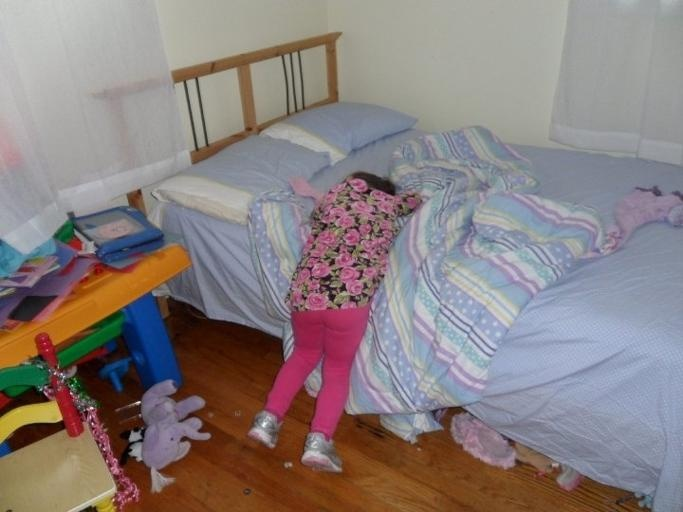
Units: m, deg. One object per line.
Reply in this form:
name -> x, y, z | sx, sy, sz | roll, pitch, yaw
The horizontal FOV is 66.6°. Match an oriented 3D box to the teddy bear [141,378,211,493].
teddy bear -> -0.679, 0.712, 2.074 | 0.263, 0.181, 0.362 | 16, 56, 0

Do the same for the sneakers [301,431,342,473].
sneakers -> -0.067, 0.701, 1.899 | 0.138, 0.208, 0.168 | 0, 32, -1

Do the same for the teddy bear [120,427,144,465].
teddy bear -> -0.820, 0.741, 2.044 | 0.099, 0.045, 0.109 | -5, 55, 15

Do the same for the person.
person -> -0.010, 0.196, 2.065 | 0.454, 0.350, 1.149 | 16, 85, 16

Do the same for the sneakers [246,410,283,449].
sneakers -> -0.267, 0.617, 1.860 | 0.112, 0.048, 0.128 | 28, 70, -2

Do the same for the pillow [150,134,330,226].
pillow -> -0.455, -0.384, 2.420 | 0.470, 0.147, 0.642 | 22, 39, 25
